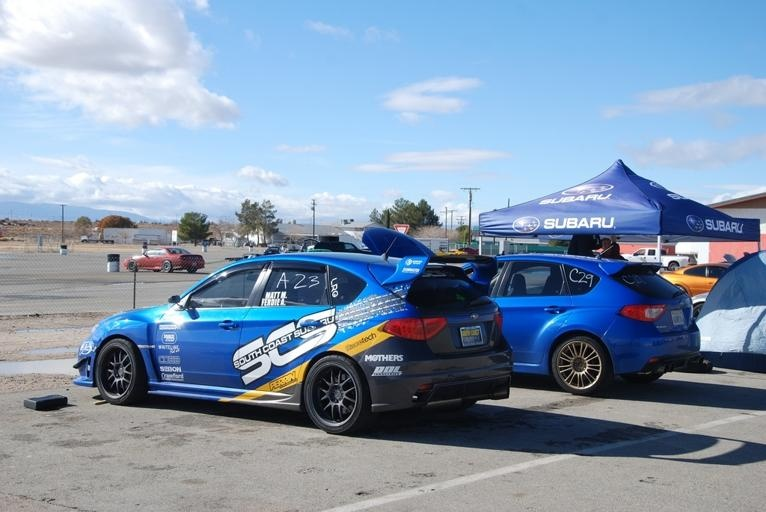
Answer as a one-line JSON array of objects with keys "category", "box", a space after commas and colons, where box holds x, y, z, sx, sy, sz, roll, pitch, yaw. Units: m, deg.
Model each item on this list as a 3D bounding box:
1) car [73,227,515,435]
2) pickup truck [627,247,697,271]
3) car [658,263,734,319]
[{"category": "car", "box": [-1.175, 0.961, 7.381, 4.899, 1.540, 2.272, 2, 0, 29]}, {"category": "pickup truck", "box": [17.421, 0.143, 35.257, 4.964, 1.276, 2.134, 3, 4, 26]}, {"category": "car", "box": [7.308, 0.782, 13.303, 2.469, 0.839, 1.326, -7, 2, 15]}]
